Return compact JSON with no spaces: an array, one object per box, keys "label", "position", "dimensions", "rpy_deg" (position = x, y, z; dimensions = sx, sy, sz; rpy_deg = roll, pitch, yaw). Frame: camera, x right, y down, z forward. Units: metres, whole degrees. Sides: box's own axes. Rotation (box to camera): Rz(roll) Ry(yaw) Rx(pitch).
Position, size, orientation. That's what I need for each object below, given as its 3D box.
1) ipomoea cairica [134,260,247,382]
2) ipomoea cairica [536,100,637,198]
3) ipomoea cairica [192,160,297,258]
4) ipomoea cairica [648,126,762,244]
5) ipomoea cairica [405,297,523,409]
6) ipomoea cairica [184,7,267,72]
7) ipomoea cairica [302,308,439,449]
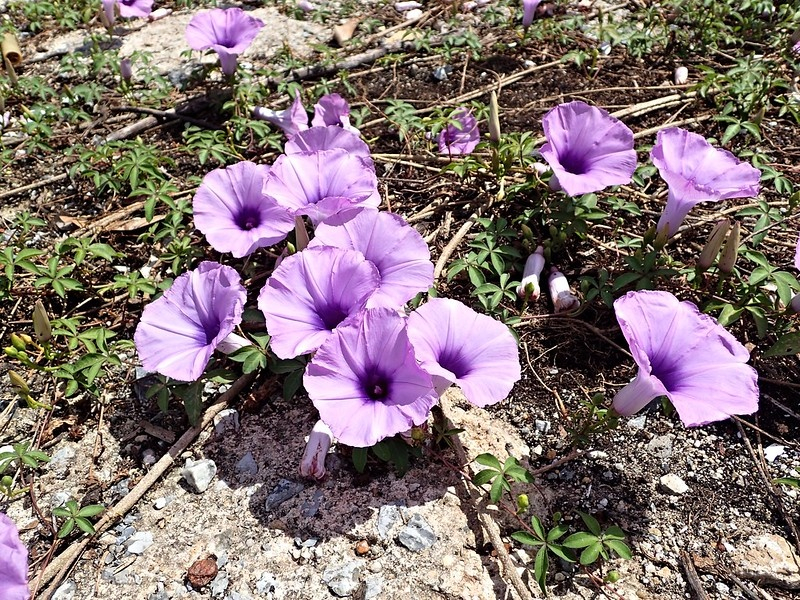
[{"label":"ipomoea cairica","position":[-1.076,0.126,3.405],"dimensions":[0.595,0.457,0.493],"rpy_deg":[-25,40,-22]},{"label":"ipomoea cairica","position":[1.087,-0.935,3.917],"dimensions":[0.601,0.464,0.612],"rpy_deg":[-14,39,-41]},{"label":"ipomoea cairica","position":[-0.901,-0.547,3.877],"dimensions":[0.575,0.270,0.536],"rpy_deg":[15,-7,-38]},{"label":"ipomoea cairica","position":[1.613,-0.705,3.779],"dimensions":[0.553,0.419,0.543],"rpy_deg":[1,44,-17]},{"label":"ipomoea cairica","position":[0.228,0.289,3.318],"dimensions":[0.573,0.608,0.389],"rpy_deg":[-16,51,22]},{"label":"ipomoea cairica","position":[-1.245,-1.774,4.709],"dimensions":[0.425,0.316,0.481],"rpy_deg":[21,48,9]},{"label":"ipomoea cairica","position":[-0.130,0.356,3.236],"dimensions":[0.586,0.592,0.282],"rpy_deg":[23,53,3]}]
